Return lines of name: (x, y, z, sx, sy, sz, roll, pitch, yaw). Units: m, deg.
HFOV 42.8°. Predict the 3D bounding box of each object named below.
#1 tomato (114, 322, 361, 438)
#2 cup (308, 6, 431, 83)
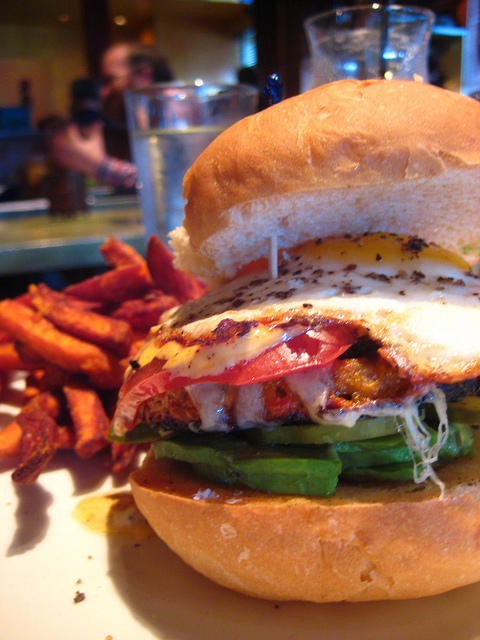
tomato: (-0.009, 0.099, 1.216, 0.358, 0.078, 0.262, -18, -4, 2)
cup: (0.542, -1.174, 2.632, 0.532, 0.284, 0.461, 2, 20, 12)
